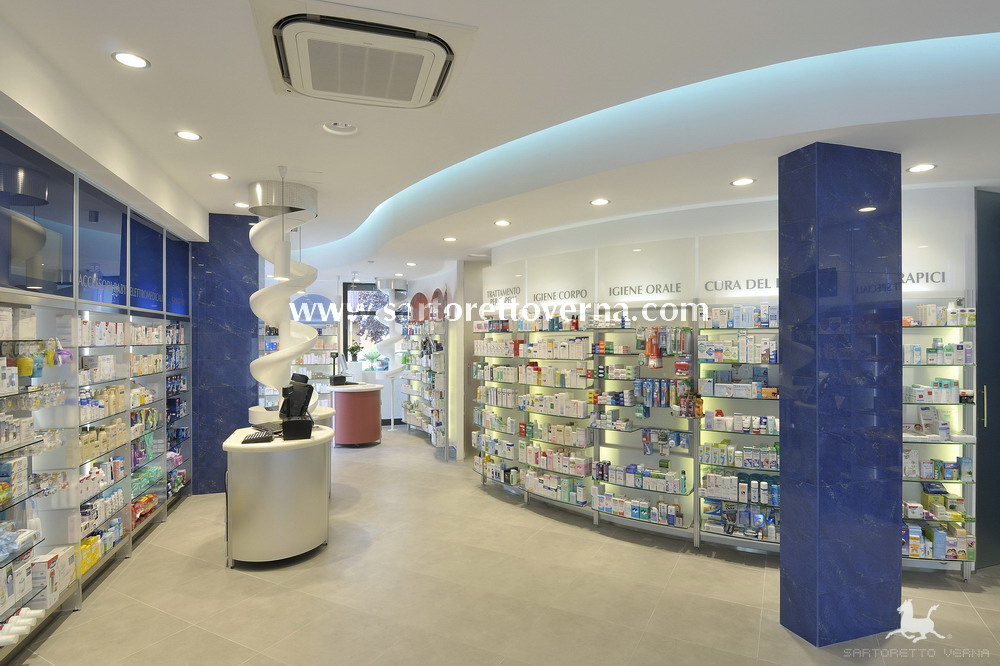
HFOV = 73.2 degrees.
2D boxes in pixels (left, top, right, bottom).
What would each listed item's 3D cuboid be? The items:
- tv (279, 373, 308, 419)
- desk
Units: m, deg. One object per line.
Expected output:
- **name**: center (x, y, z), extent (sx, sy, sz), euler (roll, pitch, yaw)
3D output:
- **tv**: center (-2.265, 0.694, 7.444), extent (0.350, 0.386, 0.467), euler (-4, 14, -17)
- **desk**: center (-2.474, 1.740, 7.696), extent (1.258, 1.372, 1.754), euler (0, -4, 1)
